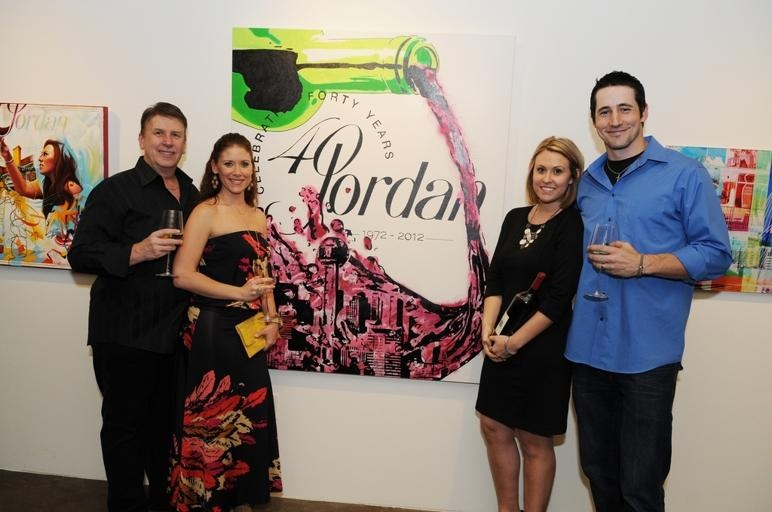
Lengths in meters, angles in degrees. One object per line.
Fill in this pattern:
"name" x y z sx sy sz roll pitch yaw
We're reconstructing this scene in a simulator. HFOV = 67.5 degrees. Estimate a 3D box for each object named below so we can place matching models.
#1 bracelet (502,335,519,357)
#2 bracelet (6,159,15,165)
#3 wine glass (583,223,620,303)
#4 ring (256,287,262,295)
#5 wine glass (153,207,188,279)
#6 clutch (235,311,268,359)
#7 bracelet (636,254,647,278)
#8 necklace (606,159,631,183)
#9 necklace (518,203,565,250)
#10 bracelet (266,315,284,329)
"bracelet" 0.812 0.580 3.783 0.102 0.141 0.097 -10 37 -21
"bracelet" -2.821 -0.711 4.334 0.048 0.014 0.048 7 -15 -21
"wine glass" 1.314 0.036 3.540 0.180 0.530 0.216 3 4 21
"ring" -0.823 0.234 3.736 0.009 0.030 0.038 -13 11 -35
"wine glass" -1.417 -0.074 3.805 0.160 0.454 0.307 0 4 -21
"clutch" -0.897 0.510 3.843 0.061 0.240 0.266 -11 15 41
"bracelet" 1.519 0.061 3.447 0.042 0.124 0.026 3 4 14
"necklace" 1.462 -0.547 3.674 0.102 0.160 0.054 -2 -35 15
"necklace" 1.031 -0.182 3.799 0.054 0.383 0.184 39 -3 -36
"bracelet" -0.784 0.458 3.975 0.078 0.057 0.087 4 -5 -41
